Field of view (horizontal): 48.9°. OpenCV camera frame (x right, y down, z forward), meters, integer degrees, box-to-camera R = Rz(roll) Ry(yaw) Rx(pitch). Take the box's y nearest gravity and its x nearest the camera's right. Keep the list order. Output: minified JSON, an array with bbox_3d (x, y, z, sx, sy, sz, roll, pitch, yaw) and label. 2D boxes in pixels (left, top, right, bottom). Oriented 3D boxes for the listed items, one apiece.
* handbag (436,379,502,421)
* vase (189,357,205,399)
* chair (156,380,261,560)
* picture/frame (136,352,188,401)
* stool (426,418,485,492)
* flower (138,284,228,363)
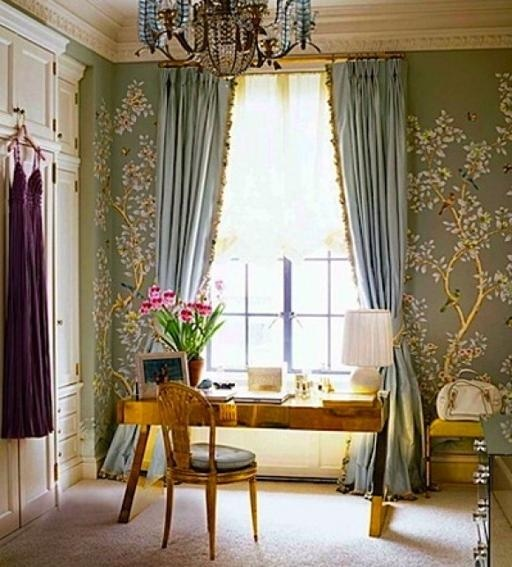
[{"bbox_3d":[1.288,0.700,3.379,0.236,0.222,0.143,-1,-6,9],"label":"handbag"},{"bbox_3d":[-0.333,0.511,3.189,0.100,0.202,0.120,1,-7,-6],"label":"vase"},{"bbox_3d":[-0.232,0.876,2.778,0.495,0.746,0.573,2,0,-1],"label":"chair"},{"bbox_3d":[-0.499,0.480,2.912,0.185,0.226,0.016,-1,-3,-10],"label":"picture/frame"},{"bbox_3d":[1.215,1.056,3.461,0.319,0.463,0.198,2,0,16],"label":"stool"},{"bbox_3d":[-0.451,0.229,3.379,0.399,0.512,0.503,3,-7,-22],"label":"flower"}]
